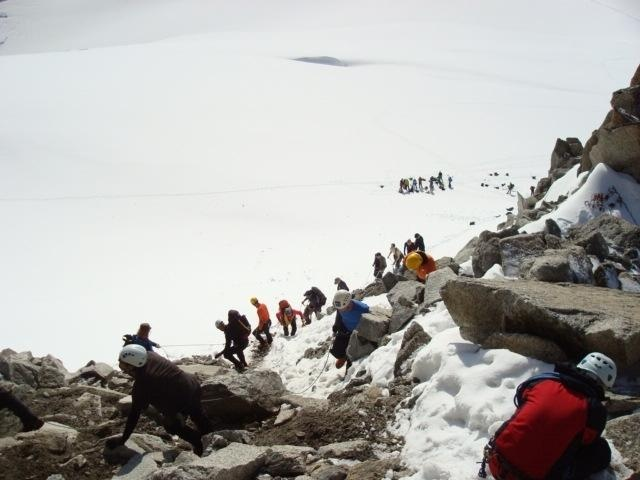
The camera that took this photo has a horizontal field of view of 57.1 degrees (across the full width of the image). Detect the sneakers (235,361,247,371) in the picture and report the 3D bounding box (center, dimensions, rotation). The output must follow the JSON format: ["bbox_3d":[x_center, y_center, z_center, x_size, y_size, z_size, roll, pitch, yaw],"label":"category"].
[{"bbox_3d":[-2.134,3.369,15.751,0.150,0.373,0.132,-12,31,-6],"label":"sneakers"}]

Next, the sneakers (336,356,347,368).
[{"bbox_3d":[0.458,2.791,13.492,0.121,0.381,0.144,36,9,34],"label":"sneakers"}]

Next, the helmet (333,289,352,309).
[{"bbox_3d":[0.450,1.293,12.871,0.402,0.361,0.300,-21,19,-40],"label":"helmet"}]

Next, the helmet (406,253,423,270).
[{"bbox_3d":[2.308,0.525,14.698,0.318,0.451,0.439,17,-6,15],"label":"helmet"}]

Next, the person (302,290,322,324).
[{"bbox_3d":[-0.292,2.300,20.396,0.628,1.291,1.710,-3,4,-2],"label":"person"}]

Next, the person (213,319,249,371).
[{"bbox_3d":[-2.480,2.776,16.213,0.872,1.559,2.022,-3,4,-10],"label":"person"}]

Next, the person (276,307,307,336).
[{"bbox_3d":[-0.953,2.709,19.450,1.041,0.591,1.774,-8,-35,-4],"label":"person"}]

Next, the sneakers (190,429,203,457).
[{"bbox_3d":[-2.180,3.596,10.448,0.103,0.427,0.233,-3,-1,-23],"label":"sneakers"}]

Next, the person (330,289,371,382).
[{"bbox_3d":[0.636,2.007,13.227,0.844,1.871,0.922,-3,4,-6],"label":"person"}]

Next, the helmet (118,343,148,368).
[{"bbox_3d":[-3.146,1.879,9.892,0.412,0.379,0.318,-7,18,-24],"label":"helmet"}]
